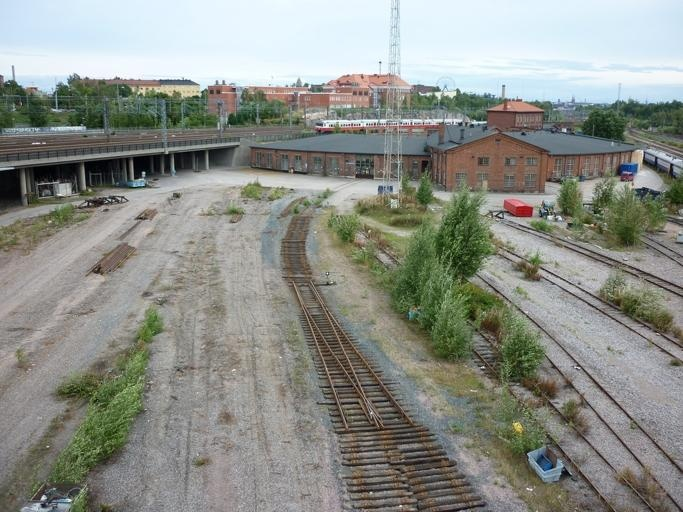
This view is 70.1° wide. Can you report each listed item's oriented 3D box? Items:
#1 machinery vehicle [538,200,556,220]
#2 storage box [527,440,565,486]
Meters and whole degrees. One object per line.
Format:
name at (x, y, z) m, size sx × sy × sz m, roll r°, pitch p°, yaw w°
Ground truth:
machinery vehicle at (20.939, -4.762, 49.641) m, size 1.331 × 1.166 × 2.140 m, roll 5°, pitch 20°, yaw 11°
storage box at (6.693, 6.725, 15.881) m, size 0.870 × 0.694 × 0.973 m, roll -6°, pitch 19°, yaw -15°
